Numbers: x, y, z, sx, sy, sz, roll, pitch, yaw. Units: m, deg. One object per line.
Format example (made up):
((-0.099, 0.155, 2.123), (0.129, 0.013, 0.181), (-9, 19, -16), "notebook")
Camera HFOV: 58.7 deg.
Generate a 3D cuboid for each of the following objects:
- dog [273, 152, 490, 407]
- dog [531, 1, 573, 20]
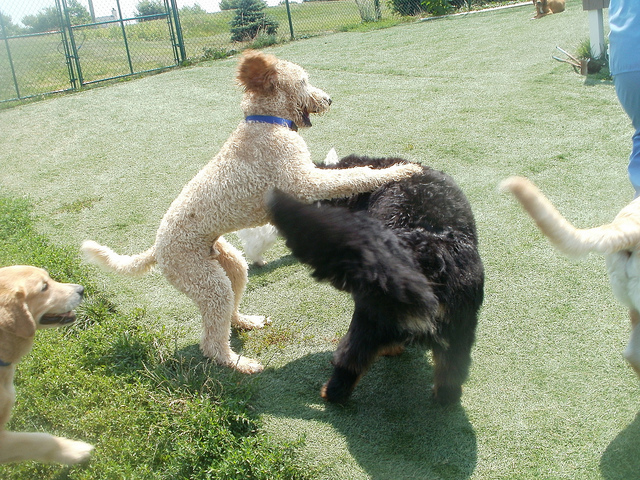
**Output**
((0.461, 0.368, 3.563), (0.808, 1.555, 1.351), (11, 28, 43), "dog")
((5.371, -5.288, 13.055), (0.779, 0.371, 0.640), (-8, 20, 4), "dog")
